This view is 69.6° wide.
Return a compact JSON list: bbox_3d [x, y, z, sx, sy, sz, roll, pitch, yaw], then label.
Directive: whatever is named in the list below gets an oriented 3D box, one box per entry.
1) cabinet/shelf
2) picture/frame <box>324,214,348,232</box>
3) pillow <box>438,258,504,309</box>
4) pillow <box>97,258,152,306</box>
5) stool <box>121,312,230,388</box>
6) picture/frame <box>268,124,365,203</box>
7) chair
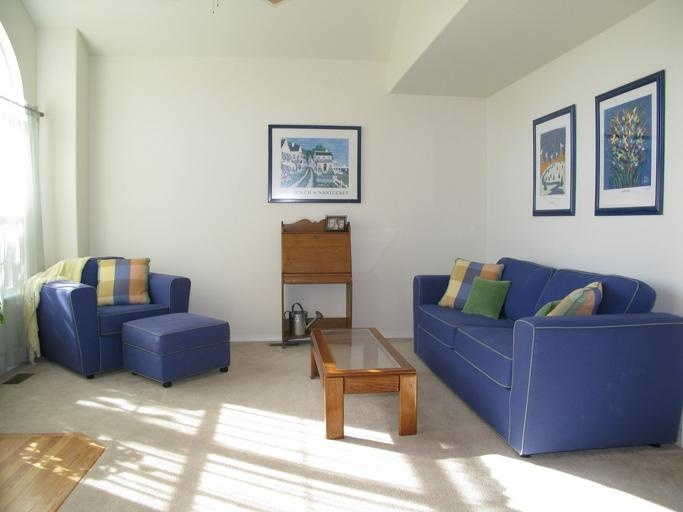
[{"bbox_3d":[-0.271,0.296,5.566,0.816,1.382,0.496,0,11,0],"label":"cabinet/shelf"},{"bbox_3d":[-0.054,-0.369,5.580,0.295,0.231,0.160,0,-1,0],"label":"picture/frame"},{"bbox_3d":[1.259,0.283,4.887,0.152,0.493,0.503,31,-13,-28],"label":"pillow"},{"bbox_3d":[-2.227,0.280,5.008,0.395,0.411,0.153,-1,-29,-15],"label":"pillow"},{"bbox_3d":[-1.675,0.756,4.750,0.895,0.561,0.917,16,8,13],"label":"stool"},{"bbox_3d":[-0.340,-1.098,5.694,0.821,0.735,0.040,0,4,-1],"label":"picture/frame"},{"bbox_3d":[-2.164,0.490,4.742,0.993,1.047,1.044,-3,-4,45],"label":"chair"}]
